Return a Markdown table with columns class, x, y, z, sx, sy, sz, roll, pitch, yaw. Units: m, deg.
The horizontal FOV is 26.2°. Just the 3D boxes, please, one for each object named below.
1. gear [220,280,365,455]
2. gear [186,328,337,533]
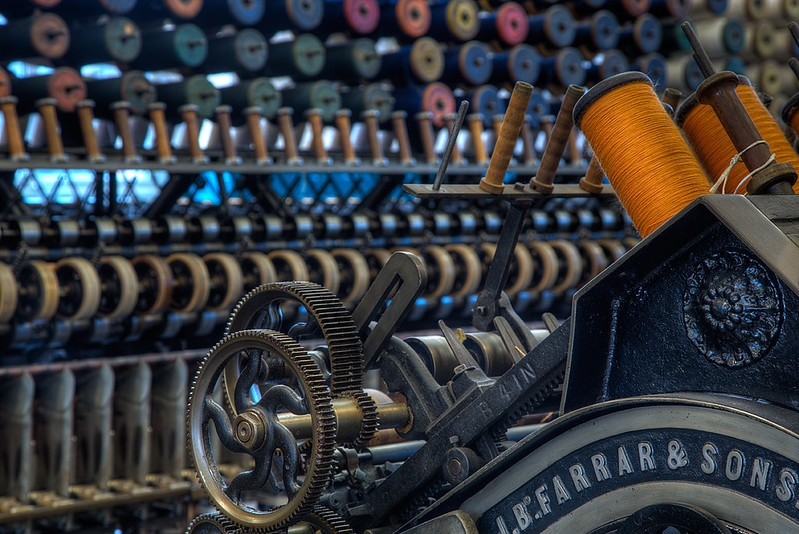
| class | x | y | z | sx | sy | sz | roll | pitch | yaw |
| --- | --- | --- | --- | --- | --- | --- | --- | --- | --- |
| gear | -0.784 | 0.776 | 12.585 | 0.369 | 1.601 | 1.313 | -5 | 5 | -43 |
| gear | -1.017 | 1.185 | 12.397 | 1.165 | 1.410 | 0.449 | -17 | -23 | 28 |
